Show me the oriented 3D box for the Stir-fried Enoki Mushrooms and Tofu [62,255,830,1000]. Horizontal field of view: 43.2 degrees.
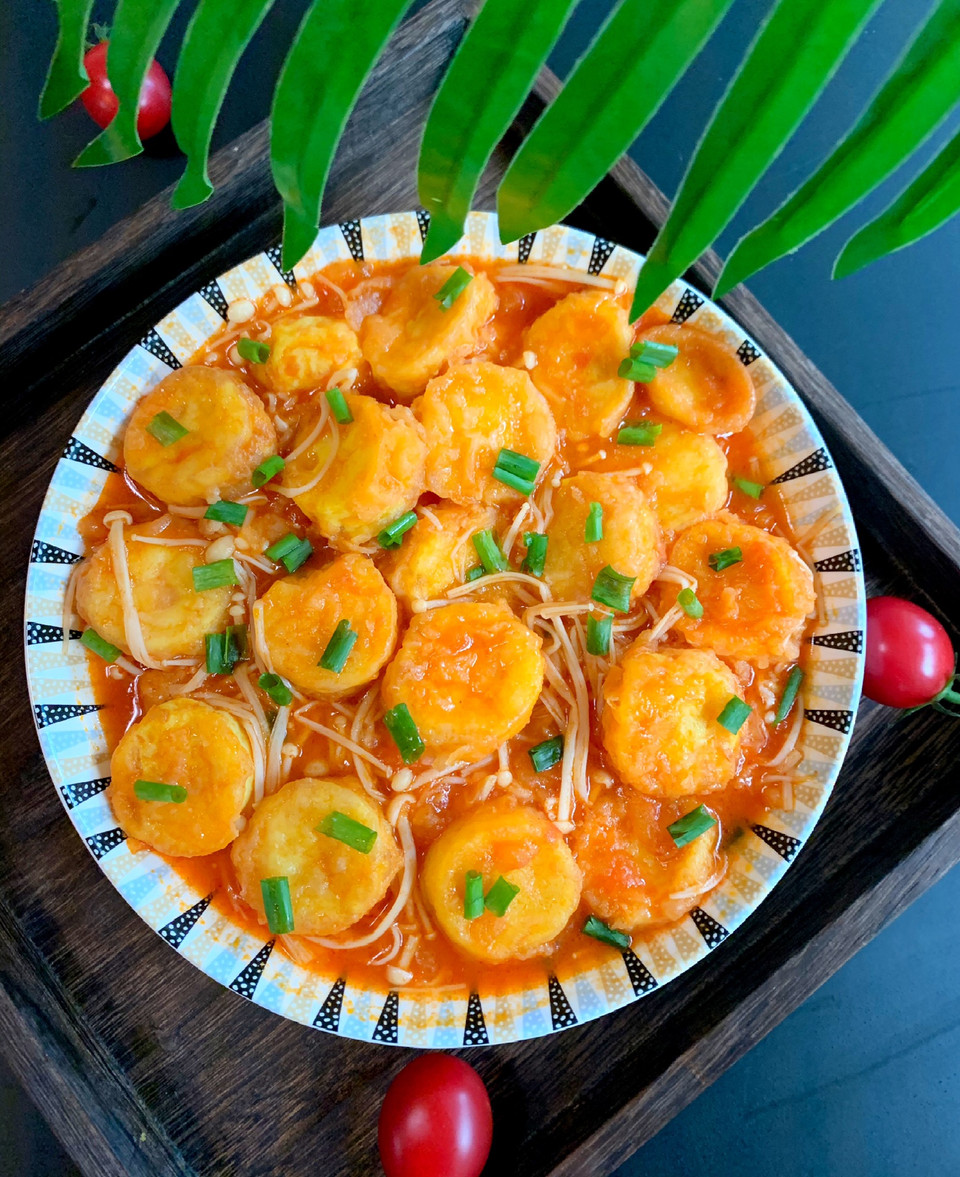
[{"bbox_3d":[-0.097,0.130,3.331,2.881,0.745,2.129,1,89,-3],"label":"Stir-fried Enoki Mushrooms and Tofu"}]
